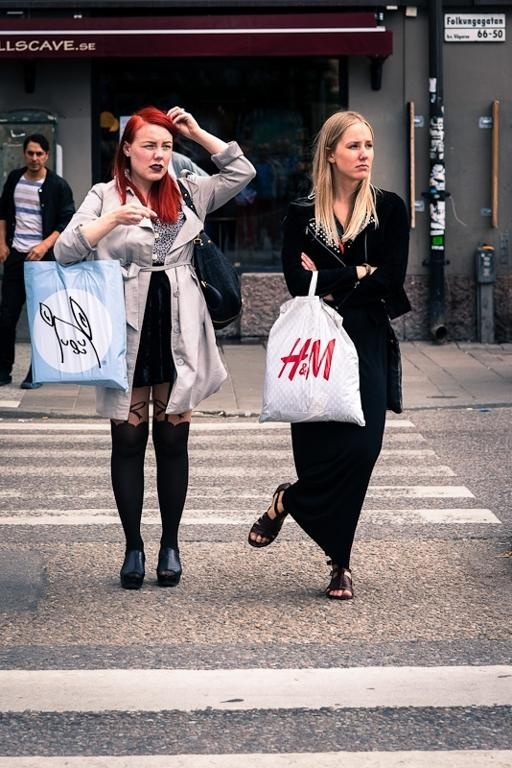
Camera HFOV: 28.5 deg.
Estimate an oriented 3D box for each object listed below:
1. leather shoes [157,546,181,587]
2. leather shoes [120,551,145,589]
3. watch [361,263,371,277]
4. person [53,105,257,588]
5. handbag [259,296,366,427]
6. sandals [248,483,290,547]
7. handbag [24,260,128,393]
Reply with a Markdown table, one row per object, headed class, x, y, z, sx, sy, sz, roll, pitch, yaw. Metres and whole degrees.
| class | x | y | z | sx | sy | sz | roll | pitch | yaw |
| --- | --- | --- | --- | --- | --- | --- | --- | --- | --- |
| leather shoes | -0.342 | 0.750 | 4.076 | 0.078 | 0.072 | 0.185 | 1 | 19 | 0 |
| leather shoes | -0.485 | 0.752 | 4.030 | 0.073 | 0.072 | 0.188 | 1 | 6 | -1 |
| watch | 0.420 | -0.431 | 3.811 | 0.035 | 0.040 | 0.018 | -2 | -24 | -2 |
| person | -0.419 | -0.145 | 4.064 | 0.462 | 1.939 | 0.689 | 7 | 9 | 37 |
| handbag | 0.213 | -0.086 | 3.817 | 0.439 | 0.492 | 0.154 | 8 | 10 | 43 |
| sandals | 0.060 | 0.547 | 4.147 | 0.117 | 0.343 | 0.082 | 29 | 41 | -4 |
| handbag | -0.688 | -0.231 | 3.879 | 0.460 | 0.486 | 0.132 | 4 | 8 | 18 |
